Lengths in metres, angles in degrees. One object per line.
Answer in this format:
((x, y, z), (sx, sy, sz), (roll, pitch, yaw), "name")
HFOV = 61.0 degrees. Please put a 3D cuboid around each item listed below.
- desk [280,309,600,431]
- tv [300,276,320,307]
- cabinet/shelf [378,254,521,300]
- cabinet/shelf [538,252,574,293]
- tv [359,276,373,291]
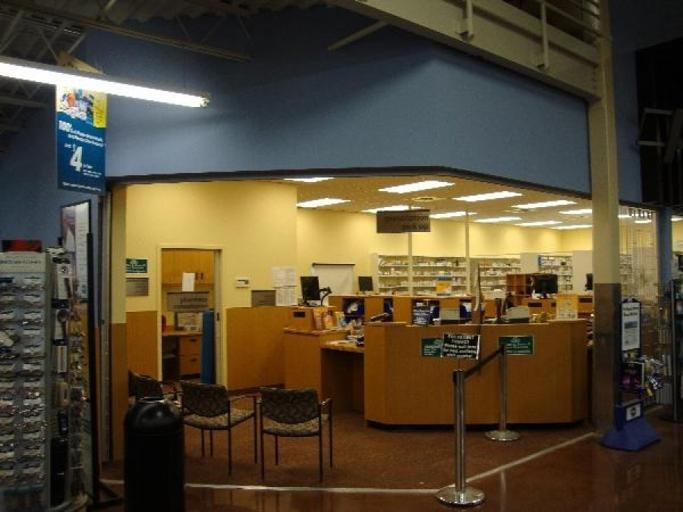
((1.410, 1.717, 8.514), (4.285, 1.658, 1.200), (2, 3, 14), "desk")
((-0.599, 0.686, 11.086), (0.350, 0.574, 1.056), (1, 4, -4), "tv")
((3.391, 0.579, 17.722), (1.829, 1.353, 6.077), (4, 5, 43), "cabinet/shelf")
((6.227, 0.446, 16.969), (1.350, 1.315, 0.439), (0, -1, -40), "cabinet/shelf")
((0.611, 0.721, 15.151), (0.349, 0.328, 0.120), (2, -7, -29), "tv")
